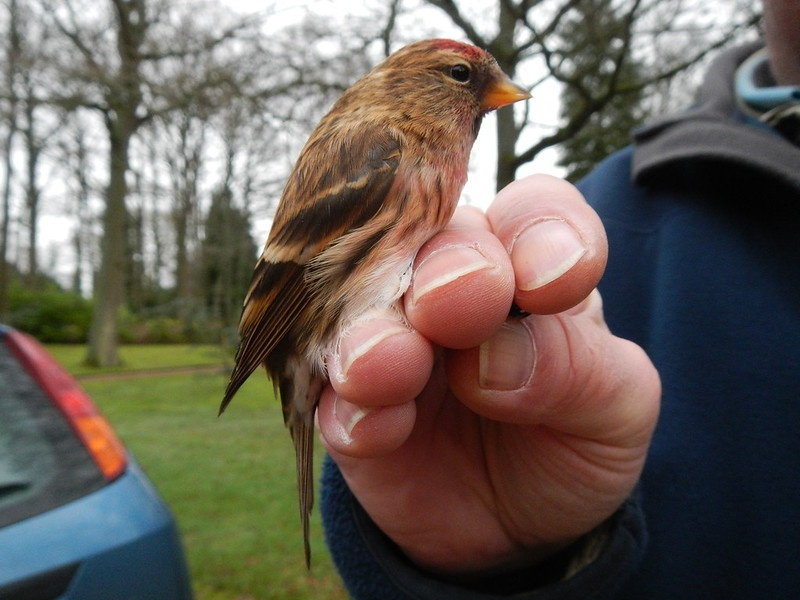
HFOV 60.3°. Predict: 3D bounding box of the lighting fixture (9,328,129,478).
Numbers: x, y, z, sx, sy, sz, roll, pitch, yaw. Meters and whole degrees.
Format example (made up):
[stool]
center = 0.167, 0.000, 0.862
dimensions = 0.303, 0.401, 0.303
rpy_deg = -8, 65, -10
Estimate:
[lighting fixture]
center = -0.973, 0.293, 1.994
dimensions = 0.085, 0.440, 0.113
rpy_deg = -36, -1, -3
